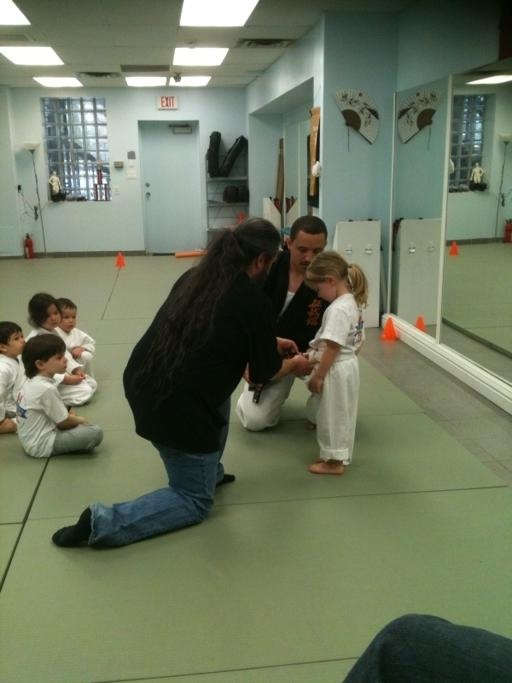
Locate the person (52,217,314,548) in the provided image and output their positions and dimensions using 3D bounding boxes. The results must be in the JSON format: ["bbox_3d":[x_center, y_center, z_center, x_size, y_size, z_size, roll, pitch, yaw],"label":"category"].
[{"bbox_3d":[-0.318,0.159,1.824,0.743,1.151,0.480,-7,14,-27],"label":"person"}]

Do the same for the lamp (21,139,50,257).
[{"bbox_3d":[-4.168,-2.668,9.798,0.265,1.985,0.131,-4,14,-18],"label":"lamp"}]
